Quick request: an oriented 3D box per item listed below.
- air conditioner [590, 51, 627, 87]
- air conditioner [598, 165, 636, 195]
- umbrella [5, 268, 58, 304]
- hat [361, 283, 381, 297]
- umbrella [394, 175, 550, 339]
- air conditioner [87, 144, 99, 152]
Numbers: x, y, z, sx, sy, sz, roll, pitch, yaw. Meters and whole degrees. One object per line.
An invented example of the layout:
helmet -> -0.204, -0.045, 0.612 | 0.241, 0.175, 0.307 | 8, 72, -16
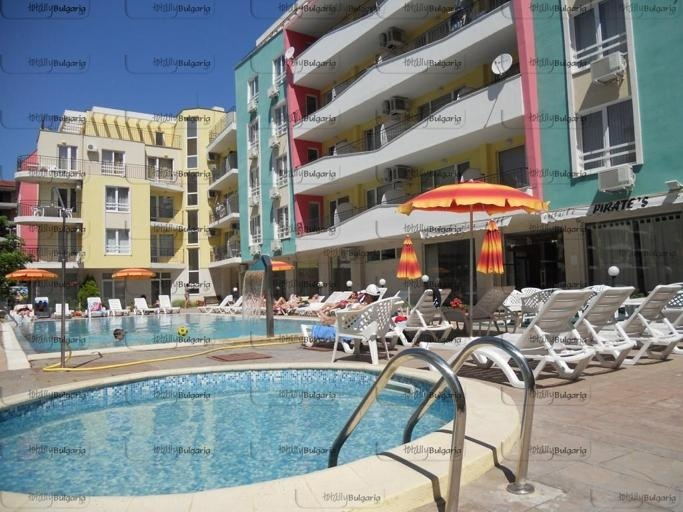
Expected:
air conditioner -> 7.110, -5.029, 15.206 | 0.437, 0.716, 0.853 | 1, -4, -38
air conditioner -> 7.255, -2.006, 14.961 | 0.590, 0.794, 1.060 | 0, 1, -40
umbrella -> -16.055, 1.029, 29.251 | 1.967, 2.020, 1.967 | 0, -3, 8
hat -> 0.656, 0.755, 12.282 | 0.296, 0.187, 0.363 | 5, -7, 0
umbrella -> 2.498, -0.212, 11.798 | 3.083, 3.221, 3.130 | 3, 1, 25
air conditioner -> -16.257, -7.110, 37.218 | 0.588, 0.547, 0.418 | -1, -3, -11
